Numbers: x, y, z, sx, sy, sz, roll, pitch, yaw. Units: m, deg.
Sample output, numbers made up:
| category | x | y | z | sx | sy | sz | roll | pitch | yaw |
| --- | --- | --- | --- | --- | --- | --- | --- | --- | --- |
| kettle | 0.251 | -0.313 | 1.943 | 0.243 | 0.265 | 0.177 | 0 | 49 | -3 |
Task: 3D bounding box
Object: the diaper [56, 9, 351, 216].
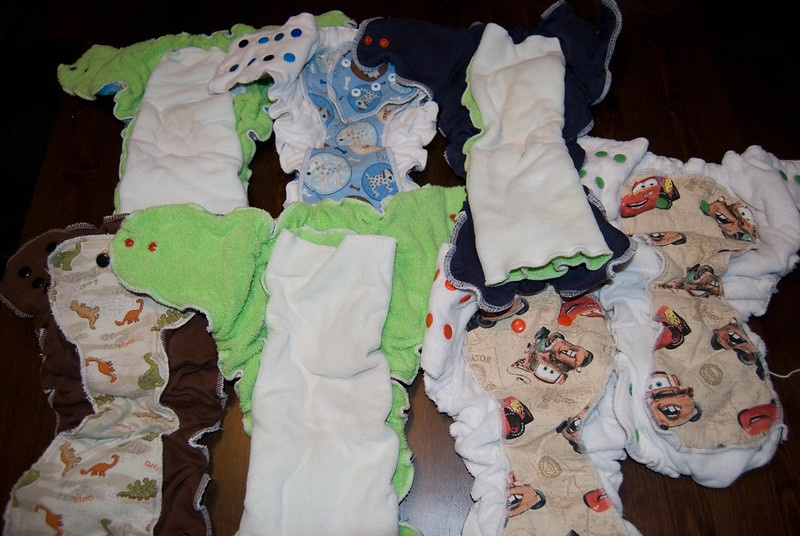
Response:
| category | x | y | z | sx | sy | sz | roll | pitch | yaw |
| --- | --- | --- | --- | --- | --- | --- | --- | --- | --- |
| diaper | -1.043 | -0.685 | 3.417 | 0.930 | 0.381 | 0.979 | -14 | 52 | -10 |
